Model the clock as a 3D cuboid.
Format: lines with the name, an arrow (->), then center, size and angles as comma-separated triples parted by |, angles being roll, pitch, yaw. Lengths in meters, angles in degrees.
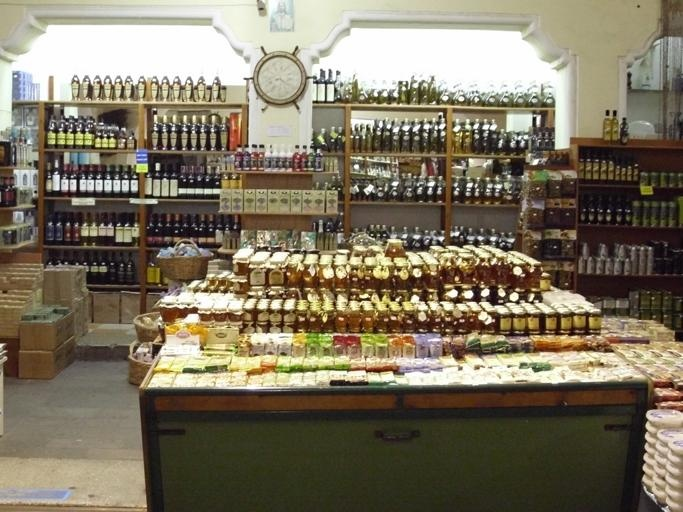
clock -> -0.643, -1.917, 6.648 | 0.747, 0.606, 0.083 | 6, 14, 20

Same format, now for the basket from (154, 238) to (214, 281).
basket -> -1.542, 0.037, 6.152 | 0.452, 0.319, 0.497 | 9, 15, 40

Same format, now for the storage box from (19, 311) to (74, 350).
storage box -> -2.924, 0.743, 6.203 | 0.346, 0.279, 0.621 | 1, 7, -4

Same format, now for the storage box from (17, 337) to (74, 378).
storage box -> -2.864, 1.071, 6.324 | 0.391, 0.272, 0.785 | -2, -3, 13

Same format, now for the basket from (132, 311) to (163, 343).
basket -> -1.873, 0.703, 5.985 | 0.226, 0.232, 0.574 | 0, 10, -19
